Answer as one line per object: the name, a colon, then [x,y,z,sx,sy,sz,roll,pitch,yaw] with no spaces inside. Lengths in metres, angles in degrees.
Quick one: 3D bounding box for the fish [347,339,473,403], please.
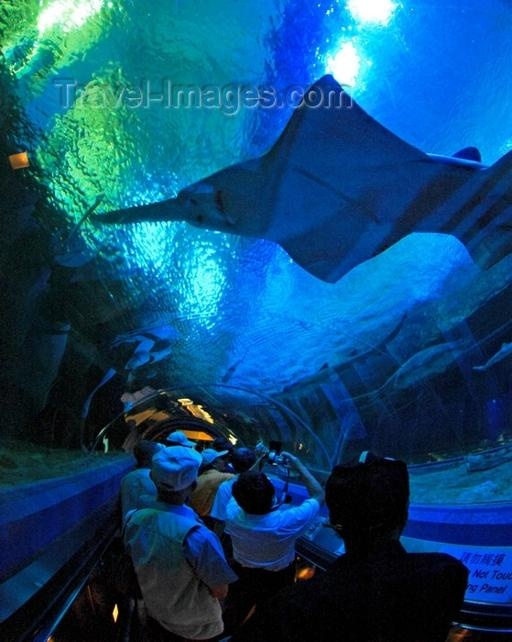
fish: [1.828,0.520,5.454,0.208,0.186,1.176,-29,-9,-26]
